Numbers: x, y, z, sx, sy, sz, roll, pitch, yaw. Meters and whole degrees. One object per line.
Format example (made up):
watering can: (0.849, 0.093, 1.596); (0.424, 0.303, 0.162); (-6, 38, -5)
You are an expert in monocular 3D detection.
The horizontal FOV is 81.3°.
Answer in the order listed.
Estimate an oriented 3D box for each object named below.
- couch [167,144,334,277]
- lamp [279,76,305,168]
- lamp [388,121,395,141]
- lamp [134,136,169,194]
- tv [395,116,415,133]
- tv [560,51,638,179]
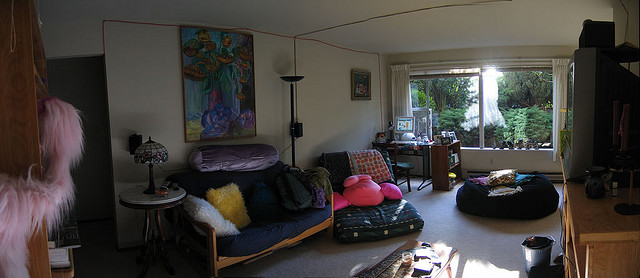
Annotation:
couch: (-1.255, 1.172, 6.977); (2.602, 2.105, 1.313); (-6, 5, -28)
lamp: (-0.603, -0.307, 7.968); (0.744, 1.973, 0.599); (-2, -2, 4)
lamp: (1.859, -0.237, 9.985); (0.176, 0.466, 0.335); (-4, 5, 6)
lamp: (-2.954, 0.447, 6.583); (0.506, 0.953, 0.455); (-7, 6, -22)
tv: (2.166, -0.372, 9.633); (0.547, 0.352, 0.268); (3, 4, 32)
tv: (4.016, -0.374, 5.748); (0.935, 1.861, 1.489); (-5, 5, -4)
